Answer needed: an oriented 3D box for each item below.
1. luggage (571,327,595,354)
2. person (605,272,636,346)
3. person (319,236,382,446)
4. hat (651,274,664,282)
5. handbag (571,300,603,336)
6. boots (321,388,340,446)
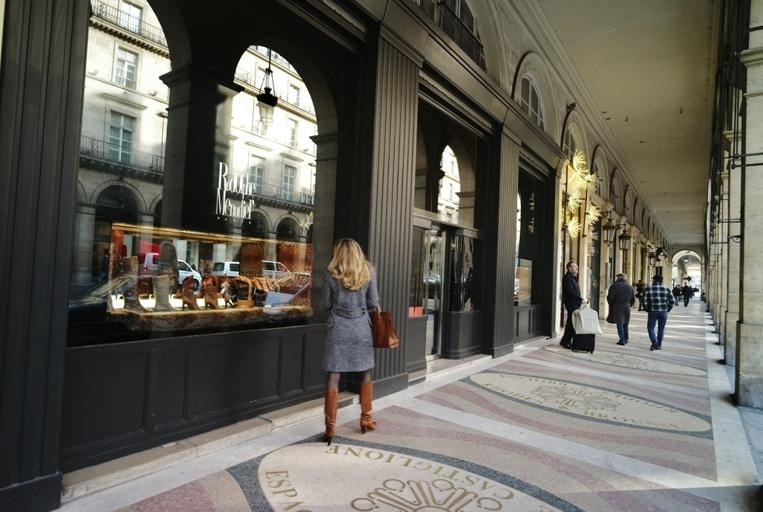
[{"bbox_3d":[4.599,1.900,11.751,0.585,0.597,0.414,1,-2,9],"label":"luggage"},{"bbox_3d":[6.352,1.394,13.677,0.632,1.888,1.597,4,5,24],"label":"person"},{"bbox_3d":[-0.359,0.957,6.038,0.663,2.299,0.373,2,4,-7],"label":"person"},{"bbox_3d":[6.708,0.546,12.452,0.229,0.104,0.313,-1,1,6],"label":"hat"},{"bbox_3d":[4.667,1.490,11.676,0.556,0.570,0.368,4,4,17],"label":"handbag"},{"bbox_3d":[-0.602,1.827,5.947,0.141,0.605,0.291,2,4,-6],"label":"boots"}]
